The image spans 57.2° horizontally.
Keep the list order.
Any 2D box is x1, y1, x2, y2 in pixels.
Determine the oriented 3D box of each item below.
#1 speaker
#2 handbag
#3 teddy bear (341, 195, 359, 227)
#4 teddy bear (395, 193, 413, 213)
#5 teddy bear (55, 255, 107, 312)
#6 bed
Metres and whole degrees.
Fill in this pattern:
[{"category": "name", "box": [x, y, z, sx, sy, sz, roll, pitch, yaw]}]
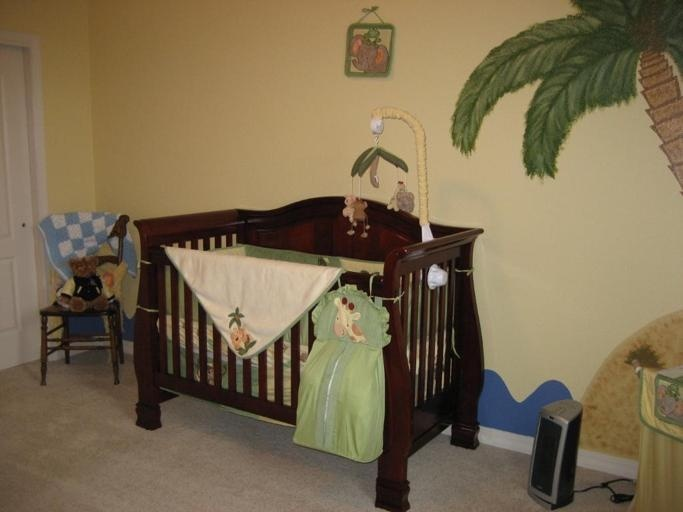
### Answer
[{"category": "speaker", "box": [1.057, 0.950, 3.019, 0.269, 0.477, 0.168, -1, 7, -27]}, {"category": "handbag", "box": [0.005, 0.520, 2.873, 0.423, 0.780, 0.161, 5, 7, 25]}, {"category": "teddy bear", "box": [0.050, -0.271, 3.601, 0.098, 0.155, 0.057, 2, 1, 2]}, {"category": "teddy bear", "box": [0.348, -0.291, 3.411, 0.087, 0.101, 0.025, 8, 11, 28]}, {"category": "teddy bear", "box": [-1.716, 0.198, 4.225, 0.410, 0.493, 0.309, 1, -3, -32]}, {"category": "bed", "box": [-0.111, 0.413, 3.583, 2.223, 1.908, 1.353, 5, 7, 33]}]
